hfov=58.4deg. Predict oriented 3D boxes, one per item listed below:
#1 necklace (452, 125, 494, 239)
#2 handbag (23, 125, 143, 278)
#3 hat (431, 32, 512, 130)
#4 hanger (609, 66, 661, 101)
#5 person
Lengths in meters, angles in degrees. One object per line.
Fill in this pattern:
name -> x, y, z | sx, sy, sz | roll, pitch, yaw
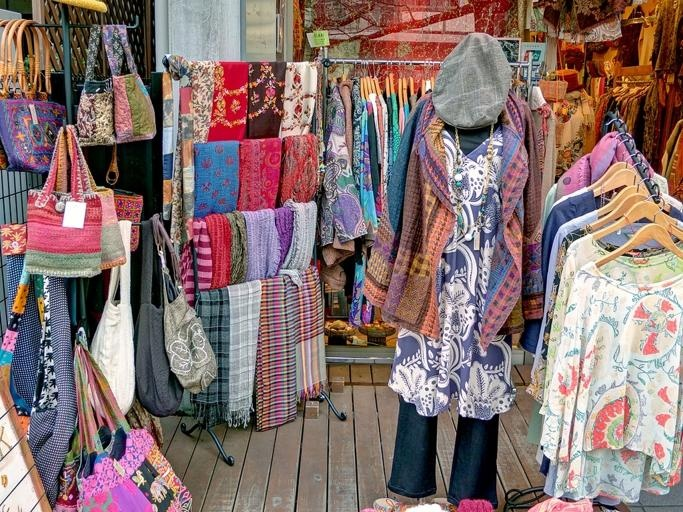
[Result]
necklace -> 0.551, -0.313, 2.569 | 0.175, 0.447, 0.106 | 1, 13, 8
handbag -> -1.062, -0.217, 2.380 | 0.388, 0.563, 0.266 | -13, 18, -41
hat -> 0.530, -0.726, 2.528 | 0.321, 0.379, 0.144 | 3, 13, 16
hanger -> 2.539, -1.506, 5.279 | 0.152, 0.262, 0.578 | -4, 12, -12
person -> 0.493, 0.181, 2.721 | 0.751, 2.238, 0.381 | 3, 13, 17
